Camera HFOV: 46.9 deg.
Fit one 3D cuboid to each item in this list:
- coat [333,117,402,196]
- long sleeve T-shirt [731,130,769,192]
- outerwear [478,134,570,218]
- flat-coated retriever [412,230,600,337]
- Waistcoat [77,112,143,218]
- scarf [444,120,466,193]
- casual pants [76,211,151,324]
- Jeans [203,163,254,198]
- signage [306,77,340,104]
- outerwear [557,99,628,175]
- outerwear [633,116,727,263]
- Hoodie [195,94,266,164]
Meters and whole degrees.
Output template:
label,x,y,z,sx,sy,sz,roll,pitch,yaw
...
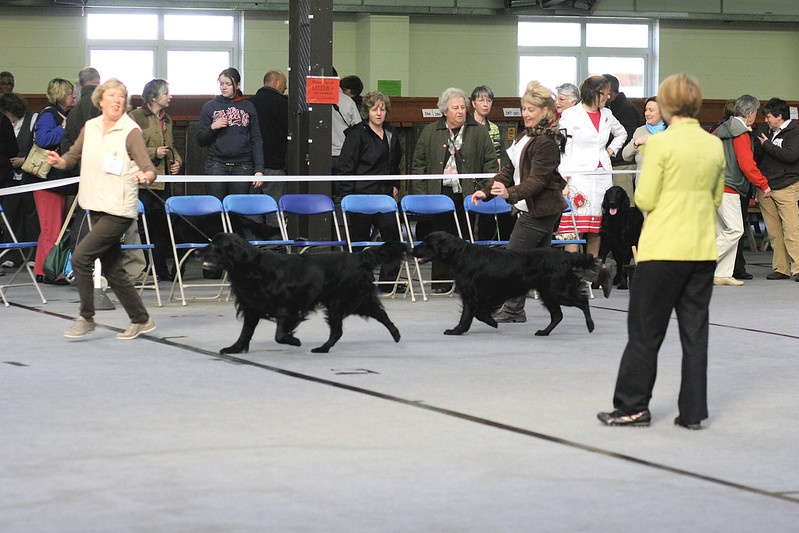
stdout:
label,x,y,z,sx,sy,sz,roll,pitch,yaw
coat,-0.345,-1.227,10.621,0.796,0.866,0.443,-2,10,-18
long sleeve T-shirt,4.462,-1.285,11.544,0.388,0.766,0.558,8,12,38
outerwear,1.151,-0.776,7.982,0.629,0.730,0.284,-7,12,-39
flat-coated retriever,0.949,0.158,7.926,1.696,0.727,0.389,1,1,30
Waistcoat,-2.403,-0.812,7.514,0.508,0.834,0.299,4,10,17
scarf,0.604,-1.198,10.378,0.238,0.782,0.345,2,10,3
casual pants,-2.433,-0.002,7.609,0.510,0.956,0.757,-9,-6,40
Jeans,-2.012,-1.003,10.822,0.549,0.443,0.317,0,9,-8
signage,-0.896,-2.004,10.468,0.420,0.262,0.048,-1,10,-7
outerwear,2.160,-1.386,10.238,1.075,0.680,0.378,-8,13,-30
outerwear,1.624,-0.432,5.268,0.547,0.816,0.267,1,10,1
Hoodie,-2.003,-1.548,10.749,0.748,0.859,0.380,-1,10,-10
